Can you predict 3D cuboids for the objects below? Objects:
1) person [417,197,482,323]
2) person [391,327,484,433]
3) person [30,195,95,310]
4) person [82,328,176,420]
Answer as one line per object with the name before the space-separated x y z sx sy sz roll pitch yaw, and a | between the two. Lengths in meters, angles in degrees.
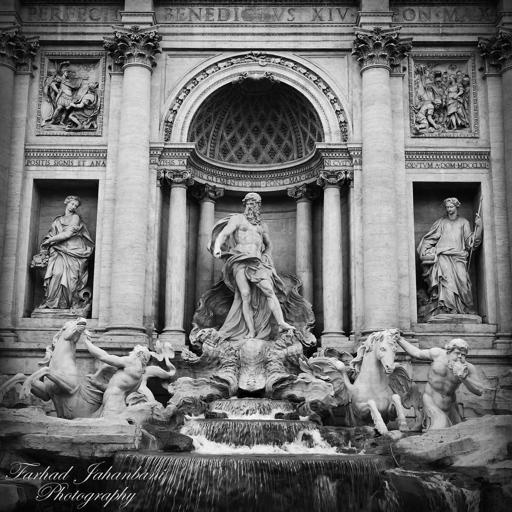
person | 5.076 0.025 18.634 1.593 3.162 0.617 -1 -7 13
person | 3.558 2.367 13.275 0.824 1.645 1.446 1 -7 -7
person | -5.024 -0.070 18.779 1.429 3.202 0.546 2 -7 -15
person | -2.700 2.516 15.071 1.408 0.791 1.946 -3 31 3
